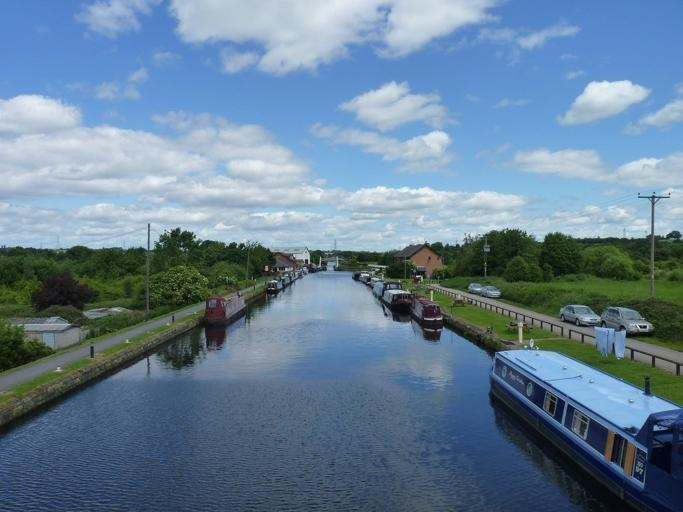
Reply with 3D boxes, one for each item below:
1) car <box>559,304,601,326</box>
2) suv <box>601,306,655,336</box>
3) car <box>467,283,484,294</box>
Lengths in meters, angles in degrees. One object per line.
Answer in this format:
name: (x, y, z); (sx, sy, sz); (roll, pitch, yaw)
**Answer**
car: (22.825, 5.897, 51.028); (1.609, 1.989, 4.908); (1, 11, -1)
suv: (24.031, 5.500, 45.732); (2.502, 1.888, 4.802); (1, -3, -6)
car: (22.249, 5.363, 88.069); (1.460, 1.054, 2.324); (-1, -5, -6)
